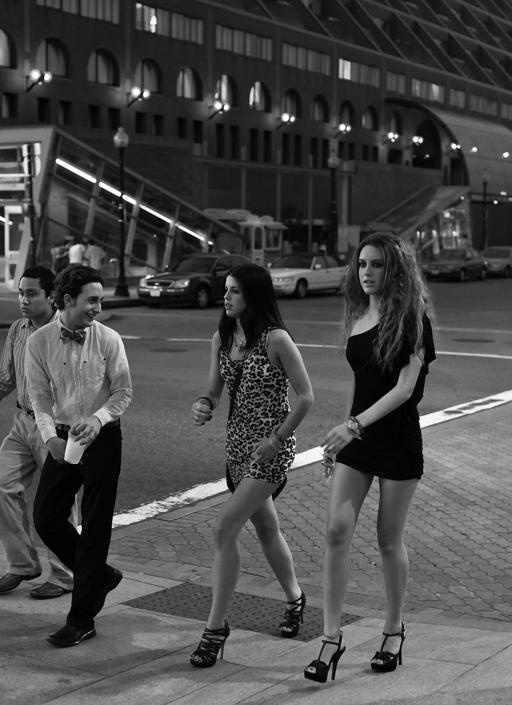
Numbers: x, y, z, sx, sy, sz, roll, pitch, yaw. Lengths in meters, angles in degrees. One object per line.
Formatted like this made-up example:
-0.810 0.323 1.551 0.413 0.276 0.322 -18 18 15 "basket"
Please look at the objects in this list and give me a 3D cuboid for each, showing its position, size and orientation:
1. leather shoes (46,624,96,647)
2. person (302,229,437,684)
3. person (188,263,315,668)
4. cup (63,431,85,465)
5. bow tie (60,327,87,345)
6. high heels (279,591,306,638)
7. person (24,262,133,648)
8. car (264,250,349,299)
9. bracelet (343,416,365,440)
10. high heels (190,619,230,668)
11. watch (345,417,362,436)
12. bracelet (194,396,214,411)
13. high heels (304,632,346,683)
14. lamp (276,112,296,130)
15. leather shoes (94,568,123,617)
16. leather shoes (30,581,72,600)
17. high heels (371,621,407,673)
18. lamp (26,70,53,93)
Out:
-0.757 1.140 3.183 0.065 0.060 0.170 8 6 32 "leather shoes"
0.450 0.338 2.984 0.432 1.662 0.821 0 2 13 "person"
-0.031 0.422 3.232 0.513 1.606 0.754 0 1 3 "person"
-0.742 0.391 3.200 0.073 0.136 0.110 0 2 -21 "cup"
-0.802 -0.074 3.458 0.110 0.076 0.060 0 1 -16 "bow tie"
0.154 1.140 3.399 0.061 0.083 0.217 1 5 8 "high heels"
-0.776 0.396 3.469 0.457 1.596 0.720 0 2 -17 "person"
2.139 -3.443 31.632 2.074 1.652 4.741 1 2 30 "car"
0.355 0.271 2.840 0.025 0.076 0.065 -25 -3 -9 "bracelet"
-0.169 1.101 2.973 0.070 0.101 0.219 0 2 18 "high heels"
0.357 0.272 2.840 0.022 0.063 0.054 -29 -17 -11 "watch"
-0.222 0.222 3.449 0.050 0.044 0.070 1 -2 -15 "bracelet"
0.240 1.055 2.749 0.071 0.094 0.225 -4 9 24 "high heels"
2.398 -17.891 59.708 1.297 0.873 1.647 -3 2 -45 "lamp"
-0.665 1.027 3.427 0.074 0.269 0.100 15 10 20 "leather shoes"
-1.016 1.164 3.870 0.084 0.056 0.147 -6 -15 33 "leather shoes"
0.497 1.096 2.911 0.065 0.090 0.197 -1 4 21 "high heels"
-12.191 -15.251 43.873 1.356 0.780 0.720 -16 -3 39 "lamp"
